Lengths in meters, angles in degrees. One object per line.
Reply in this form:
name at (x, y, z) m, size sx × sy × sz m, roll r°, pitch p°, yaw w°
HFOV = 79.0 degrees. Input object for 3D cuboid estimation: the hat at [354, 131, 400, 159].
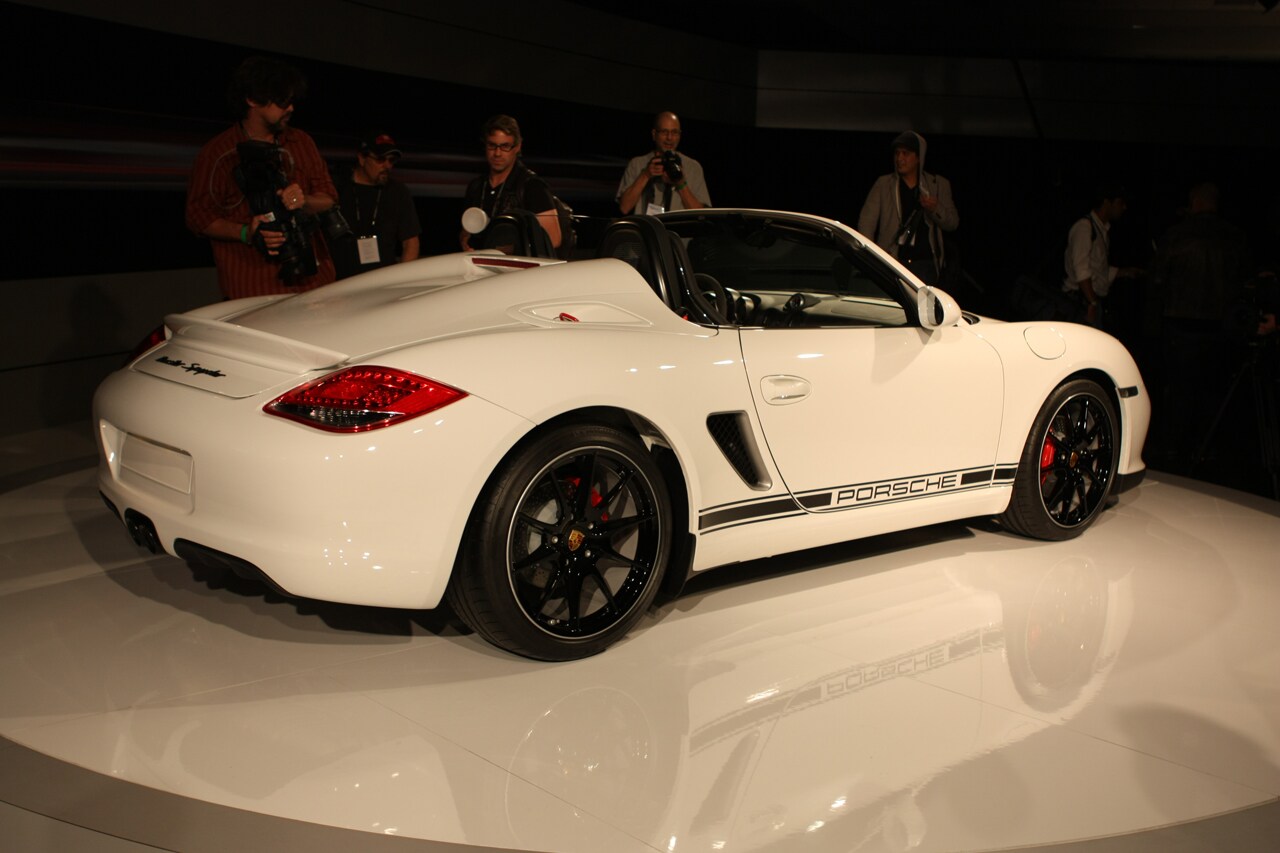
hat at (-1.795, -1.923, 5.422) m, size 0.259 × 0.148 × 0.186 m, roll 11°, pitch 20°, yaw 27°

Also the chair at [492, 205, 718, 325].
chair at (-0.111, -0.753, 3.528) m, size 1.046 × 0.381 × 0.664 m, roll -1°, pitch 15°, yaw -25°
